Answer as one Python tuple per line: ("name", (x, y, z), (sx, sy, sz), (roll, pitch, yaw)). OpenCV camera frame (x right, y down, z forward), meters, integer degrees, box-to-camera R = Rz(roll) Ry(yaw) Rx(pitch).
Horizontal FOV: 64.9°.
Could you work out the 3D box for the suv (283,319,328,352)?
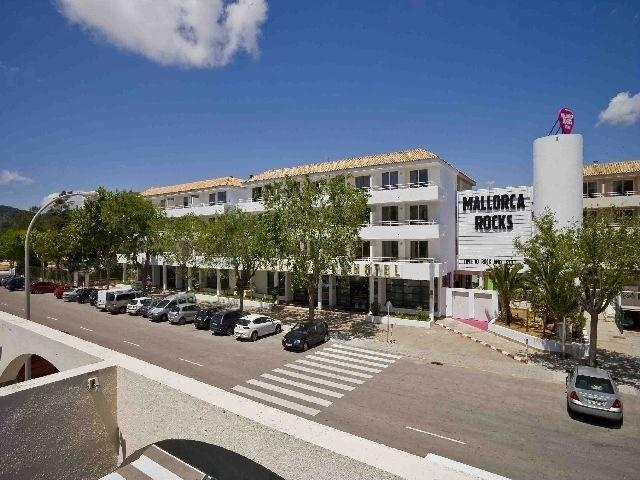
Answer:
("suv", (-1.070, 6.588, 34.513), (1.473, 1.291, 2.953), (-3, -5, 34))
